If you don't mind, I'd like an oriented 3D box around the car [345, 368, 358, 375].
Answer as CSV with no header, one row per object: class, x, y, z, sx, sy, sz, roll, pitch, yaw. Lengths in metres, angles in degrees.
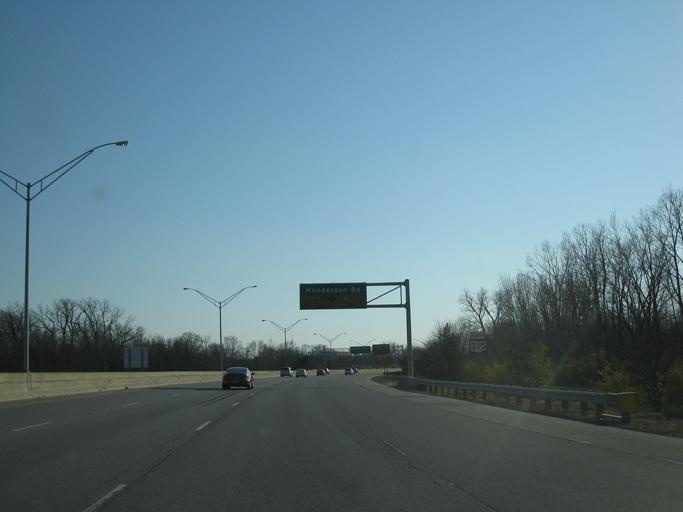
car,1.661,21.921,144.152,1.302,1.255,3.248,-1,-3,14
